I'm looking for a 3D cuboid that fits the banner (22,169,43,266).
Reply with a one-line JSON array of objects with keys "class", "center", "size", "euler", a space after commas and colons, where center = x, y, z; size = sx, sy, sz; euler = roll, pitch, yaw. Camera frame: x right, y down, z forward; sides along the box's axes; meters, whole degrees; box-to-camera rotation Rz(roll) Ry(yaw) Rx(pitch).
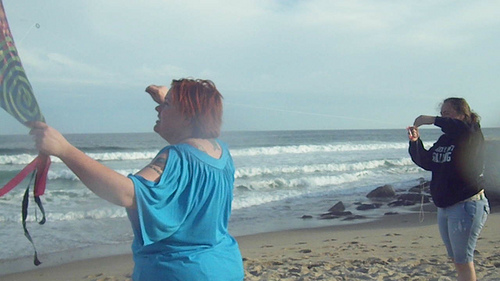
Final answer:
[{"class": "banner", "center": [-4.237, 1.390, 9.492], "size": [0.300, 2.124, 0.317], "euler": [0, -1, -37]}]
